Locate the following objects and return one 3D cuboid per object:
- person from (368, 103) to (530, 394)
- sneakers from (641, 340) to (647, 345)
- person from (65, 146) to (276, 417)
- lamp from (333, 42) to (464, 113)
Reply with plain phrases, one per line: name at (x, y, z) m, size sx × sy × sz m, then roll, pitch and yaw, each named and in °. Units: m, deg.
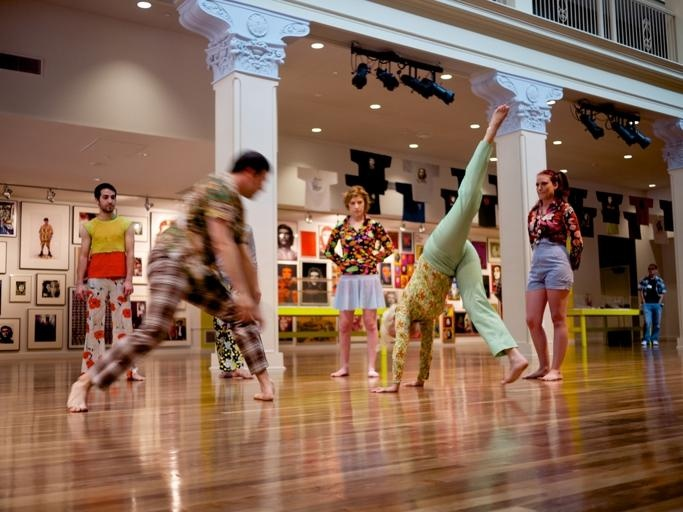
person at (0.783, -0.140, 3.990) m, size 1.086 × 2.304 × 1.042 m, roll -3°, pitch -7°, yaw 20°
sneakers at (7.407, 2.134, 12.842) m, size 0.131 × 0.132 × 0.171 m, roll 1°, pitch 4°, yaw 26°
person at (-0.843, 0.024, 2.972) m, size 0.880 × 1.340 × 0.745 m, roll -2°, pitch -7°, yaw 8°
lamp at (0.895, -2.902, 8.447) m, size 1.809 × 0.869 × 0.436 m, roll 12°, pitch -30°, yaw -25°
